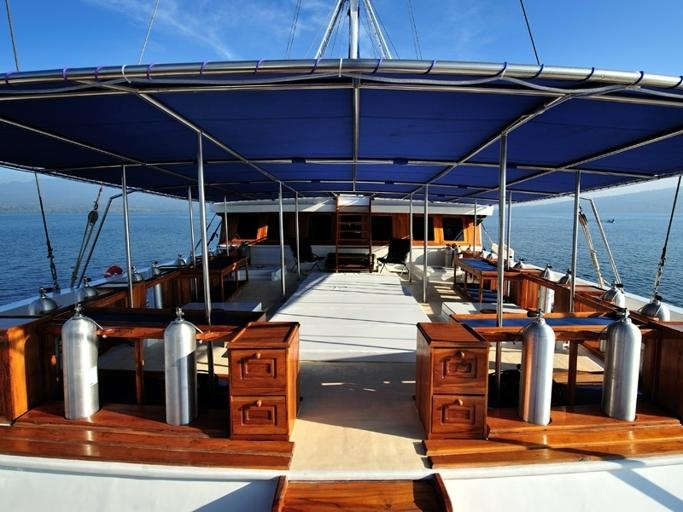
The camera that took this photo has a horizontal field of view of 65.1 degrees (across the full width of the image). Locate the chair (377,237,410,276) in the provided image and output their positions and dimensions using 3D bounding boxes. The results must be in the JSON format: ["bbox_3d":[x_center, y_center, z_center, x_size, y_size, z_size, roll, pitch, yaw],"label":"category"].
[{"bbox_3d":[1.166,-0.027,12.110,0.699,0.776,0.968,0,3,3],"label":"chair"}]

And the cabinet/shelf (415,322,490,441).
[{"bbox_3d":[1.063,1.218,5.057,0.691,0.692,0.941,3,-9,1],"label":"cabinet/shelf"}]

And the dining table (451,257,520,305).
[{"bbox_3d":[2.437,0.393,9.277,0.734,0.469,1.969,2,6,-3],"label":"dining table"}]

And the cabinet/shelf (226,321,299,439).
[{"bbox_3d":[-0.690,1.108,4.814,0.530,0.946,0.539,0,4,3],"label":"cabinet/shelf"}]
